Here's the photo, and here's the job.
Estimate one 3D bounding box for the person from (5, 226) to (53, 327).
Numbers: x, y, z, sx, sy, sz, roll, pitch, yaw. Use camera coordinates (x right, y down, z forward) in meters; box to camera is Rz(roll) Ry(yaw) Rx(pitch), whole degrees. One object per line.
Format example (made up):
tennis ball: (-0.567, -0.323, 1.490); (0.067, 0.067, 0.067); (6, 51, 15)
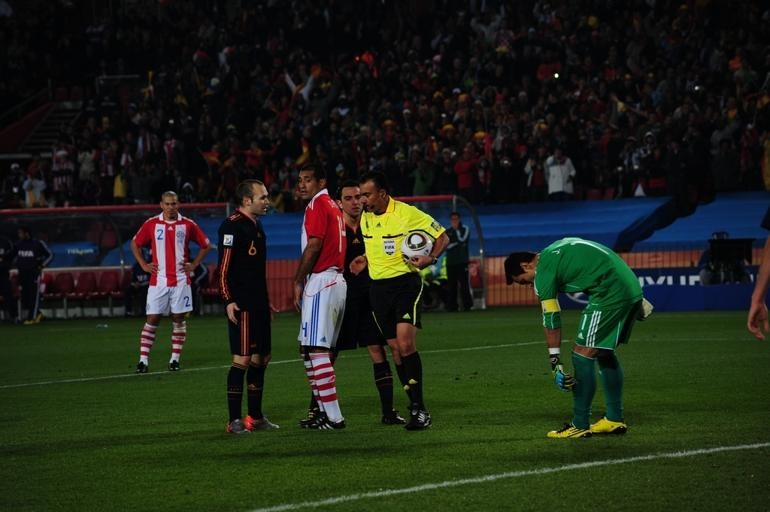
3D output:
person: (-9.856, 0.506, 25.291); (0.983, 2.631, 0.433); (-3, 6, -12)

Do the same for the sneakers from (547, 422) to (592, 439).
sneakers: (2.308, 2.201, 11.435); (0.589, 0.228, 0.201); (1, -5, 8)

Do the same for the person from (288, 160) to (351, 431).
person: (-0.854, 0.543, 12.045); (0.679, 3.397, 0.714); (-2, 6, -4)

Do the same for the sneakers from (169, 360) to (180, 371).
sneakers: (-3.713, 1.938, 15.998); (0.133, 0.108, 0.218); (3, -9, -7)

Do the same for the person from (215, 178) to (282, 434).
person: (-1.811, 0.657, 11.886); (0.688, 3.255, 0.497); (-4, 7, -18)

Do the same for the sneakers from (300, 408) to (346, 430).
sneakers: (-0.860, 2.140, 11.979); (0.634, 0.274, 0.234); (2, -8, 11)

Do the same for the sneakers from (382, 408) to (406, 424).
sneakers: (0.166, 2.145, 12.141); (0.419, 0.244, 0.138); (0, -2, 3)

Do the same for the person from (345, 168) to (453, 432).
person: (0.230, 0.559, 11.978); (1.103, 3.296, 0.827); (-1, 6, 2)

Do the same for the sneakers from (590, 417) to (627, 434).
sneakers: (2.812, 2.158, 11.555); (0.497, 0.229, 0.189); (1, -1, 8)

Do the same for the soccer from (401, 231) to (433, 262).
soccer: (0.430, -0.144, 11.962); (0.375, 0.307, 0.359); (-8, 7, 11)

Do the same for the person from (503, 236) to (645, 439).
person: (2.424, 1.023, 11.337); (1.492, 2.446, 0.603); (0, 6, 12)
